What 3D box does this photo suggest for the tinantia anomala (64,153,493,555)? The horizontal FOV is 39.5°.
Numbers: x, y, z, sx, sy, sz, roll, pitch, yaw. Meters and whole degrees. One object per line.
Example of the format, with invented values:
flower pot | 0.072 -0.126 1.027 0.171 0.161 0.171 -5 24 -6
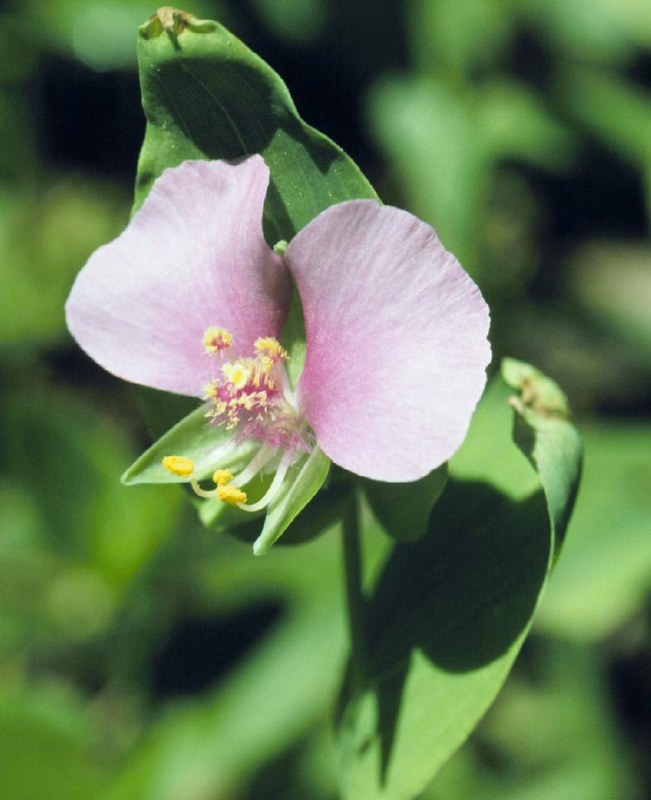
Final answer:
tinantia anomala | -0.013 -0.098 0.740 0.316 0.350 0.156 11 25 28
